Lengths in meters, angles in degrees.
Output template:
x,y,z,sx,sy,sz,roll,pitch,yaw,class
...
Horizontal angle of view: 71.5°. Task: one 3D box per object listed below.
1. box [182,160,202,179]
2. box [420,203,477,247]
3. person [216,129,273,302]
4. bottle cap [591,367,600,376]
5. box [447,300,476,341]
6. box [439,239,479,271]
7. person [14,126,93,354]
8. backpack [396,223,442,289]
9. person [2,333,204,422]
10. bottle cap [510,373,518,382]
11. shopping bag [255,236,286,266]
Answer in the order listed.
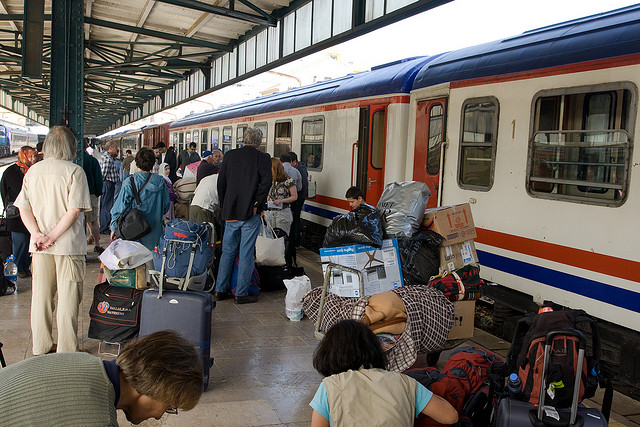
x,y,z,sx,sy,sz,roll,pitch,yaw,class
-2.797,-0.956,9.892,0.459,0.328,0.459,-10,-4,-35,box
1.546,0.091,5.641,0.710,0.577,0.465,0,4,-22,box
-1.159,0.011,7.135,0.891,2.754,0.672,4,-4,31,person
2.108,1.222,3.429,0.048,0.064,0.019,-1,11,-20,bottle cap
1.531,1.163,5.208,0.338,0.451,0.452,-3,11,-9,box
1.745,0.494,5.513,0.492,0.346,0.281,-19,-19,34,box
-2.892,0.336,4.953,0.715,2.551,0.533,7,11,23,person
1.213,0.495,5.421,0.544,0.681,0.310,4,10,10,backpack
-1.053,0.895,2.452,1.054,0.429,0.420,7,-13,-27,person
1.498,1.271,3.441,0.057,0.051,0.036,1,10,-8,bottle cap
-0.777,0.634,7.549,0.537,0.528,0.207,-1,16,16,shopping bag
